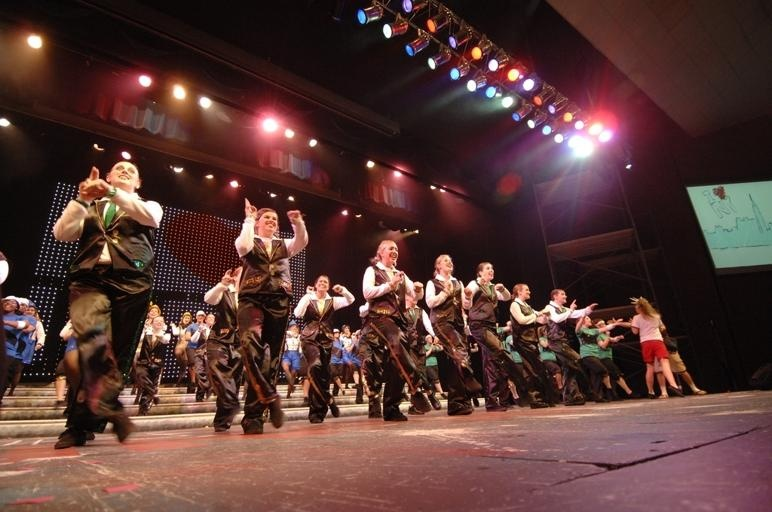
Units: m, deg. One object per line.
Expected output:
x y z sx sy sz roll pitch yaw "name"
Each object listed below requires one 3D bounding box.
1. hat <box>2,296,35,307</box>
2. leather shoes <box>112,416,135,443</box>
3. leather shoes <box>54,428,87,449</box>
-7.116 0.857 8.761 0.445 0.117 0.435 4 -13 -16 "hat"
-2.609 1.700 4.455 0.185 0.283 0.201 3 -14 -23 "leather shoes"
-3.058 1.757 4.370 0.250 0.164 0.264 7 -16 -36 "leather shoes"
